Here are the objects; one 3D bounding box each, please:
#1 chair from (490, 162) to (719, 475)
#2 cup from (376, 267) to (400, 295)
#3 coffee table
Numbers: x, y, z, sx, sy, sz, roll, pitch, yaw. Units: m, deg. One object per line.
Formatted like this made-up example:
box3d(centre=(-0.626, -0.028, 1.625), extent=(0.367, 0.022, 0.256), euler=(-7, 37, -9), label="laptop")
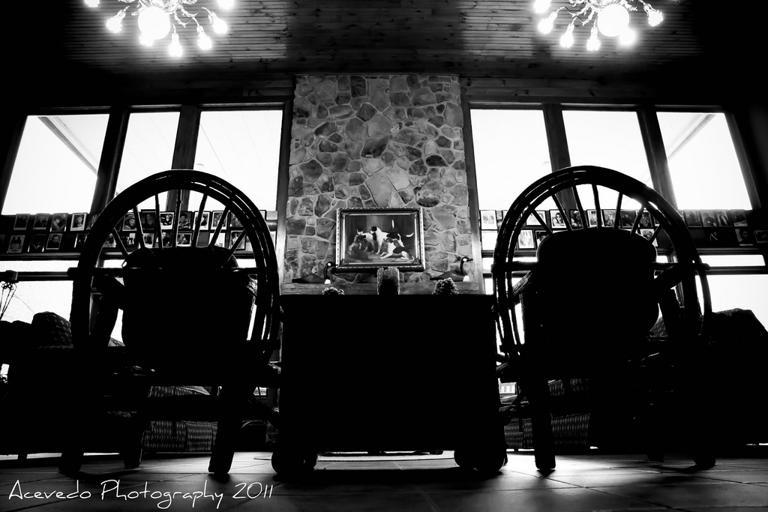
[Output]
box3d(centre=(1.166, 0.320, 3.003), extent=(1.138, 1.641, 0.523), euler=(-4, -11, 10), label="chair")
box3d(centre=(0.043, 0.160, 3.656), extent=(0.200, 0.173, 0.141), euler=(3, -9, -20), label="cup")
box3d(centre=(0.014, 0.571, 3.331), extent=(1.698, 1.125, 0.888), euler=(1, -5, -1), label="coffee table")
